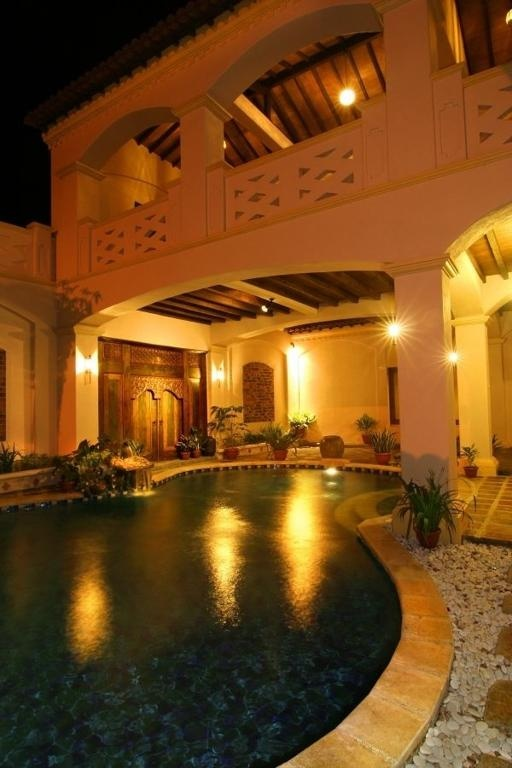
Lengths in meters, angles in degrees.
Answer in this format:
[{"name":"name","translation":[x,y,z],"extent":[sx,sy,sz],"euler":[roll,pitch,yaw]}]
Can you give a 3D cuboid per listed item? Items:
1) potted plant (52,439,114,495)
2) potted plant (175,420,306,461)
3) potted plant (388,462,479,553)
[{"name":"potted plant","translation":[-2.639,1.226,8.871],"extent":[0.751,0.648,0.764],"euler":[-2,0,30]},{"name":"potted plant","translation":[-0.499,1.366,13.305],"extent":[2.359,0.921,1.087],"euler":[-2,2,-5]},{"name":"potted plant","translation":[1.681,1.150,5.510],"extent":[0.704,0.512,0.711],"euler":[1,-3,-5]}]
